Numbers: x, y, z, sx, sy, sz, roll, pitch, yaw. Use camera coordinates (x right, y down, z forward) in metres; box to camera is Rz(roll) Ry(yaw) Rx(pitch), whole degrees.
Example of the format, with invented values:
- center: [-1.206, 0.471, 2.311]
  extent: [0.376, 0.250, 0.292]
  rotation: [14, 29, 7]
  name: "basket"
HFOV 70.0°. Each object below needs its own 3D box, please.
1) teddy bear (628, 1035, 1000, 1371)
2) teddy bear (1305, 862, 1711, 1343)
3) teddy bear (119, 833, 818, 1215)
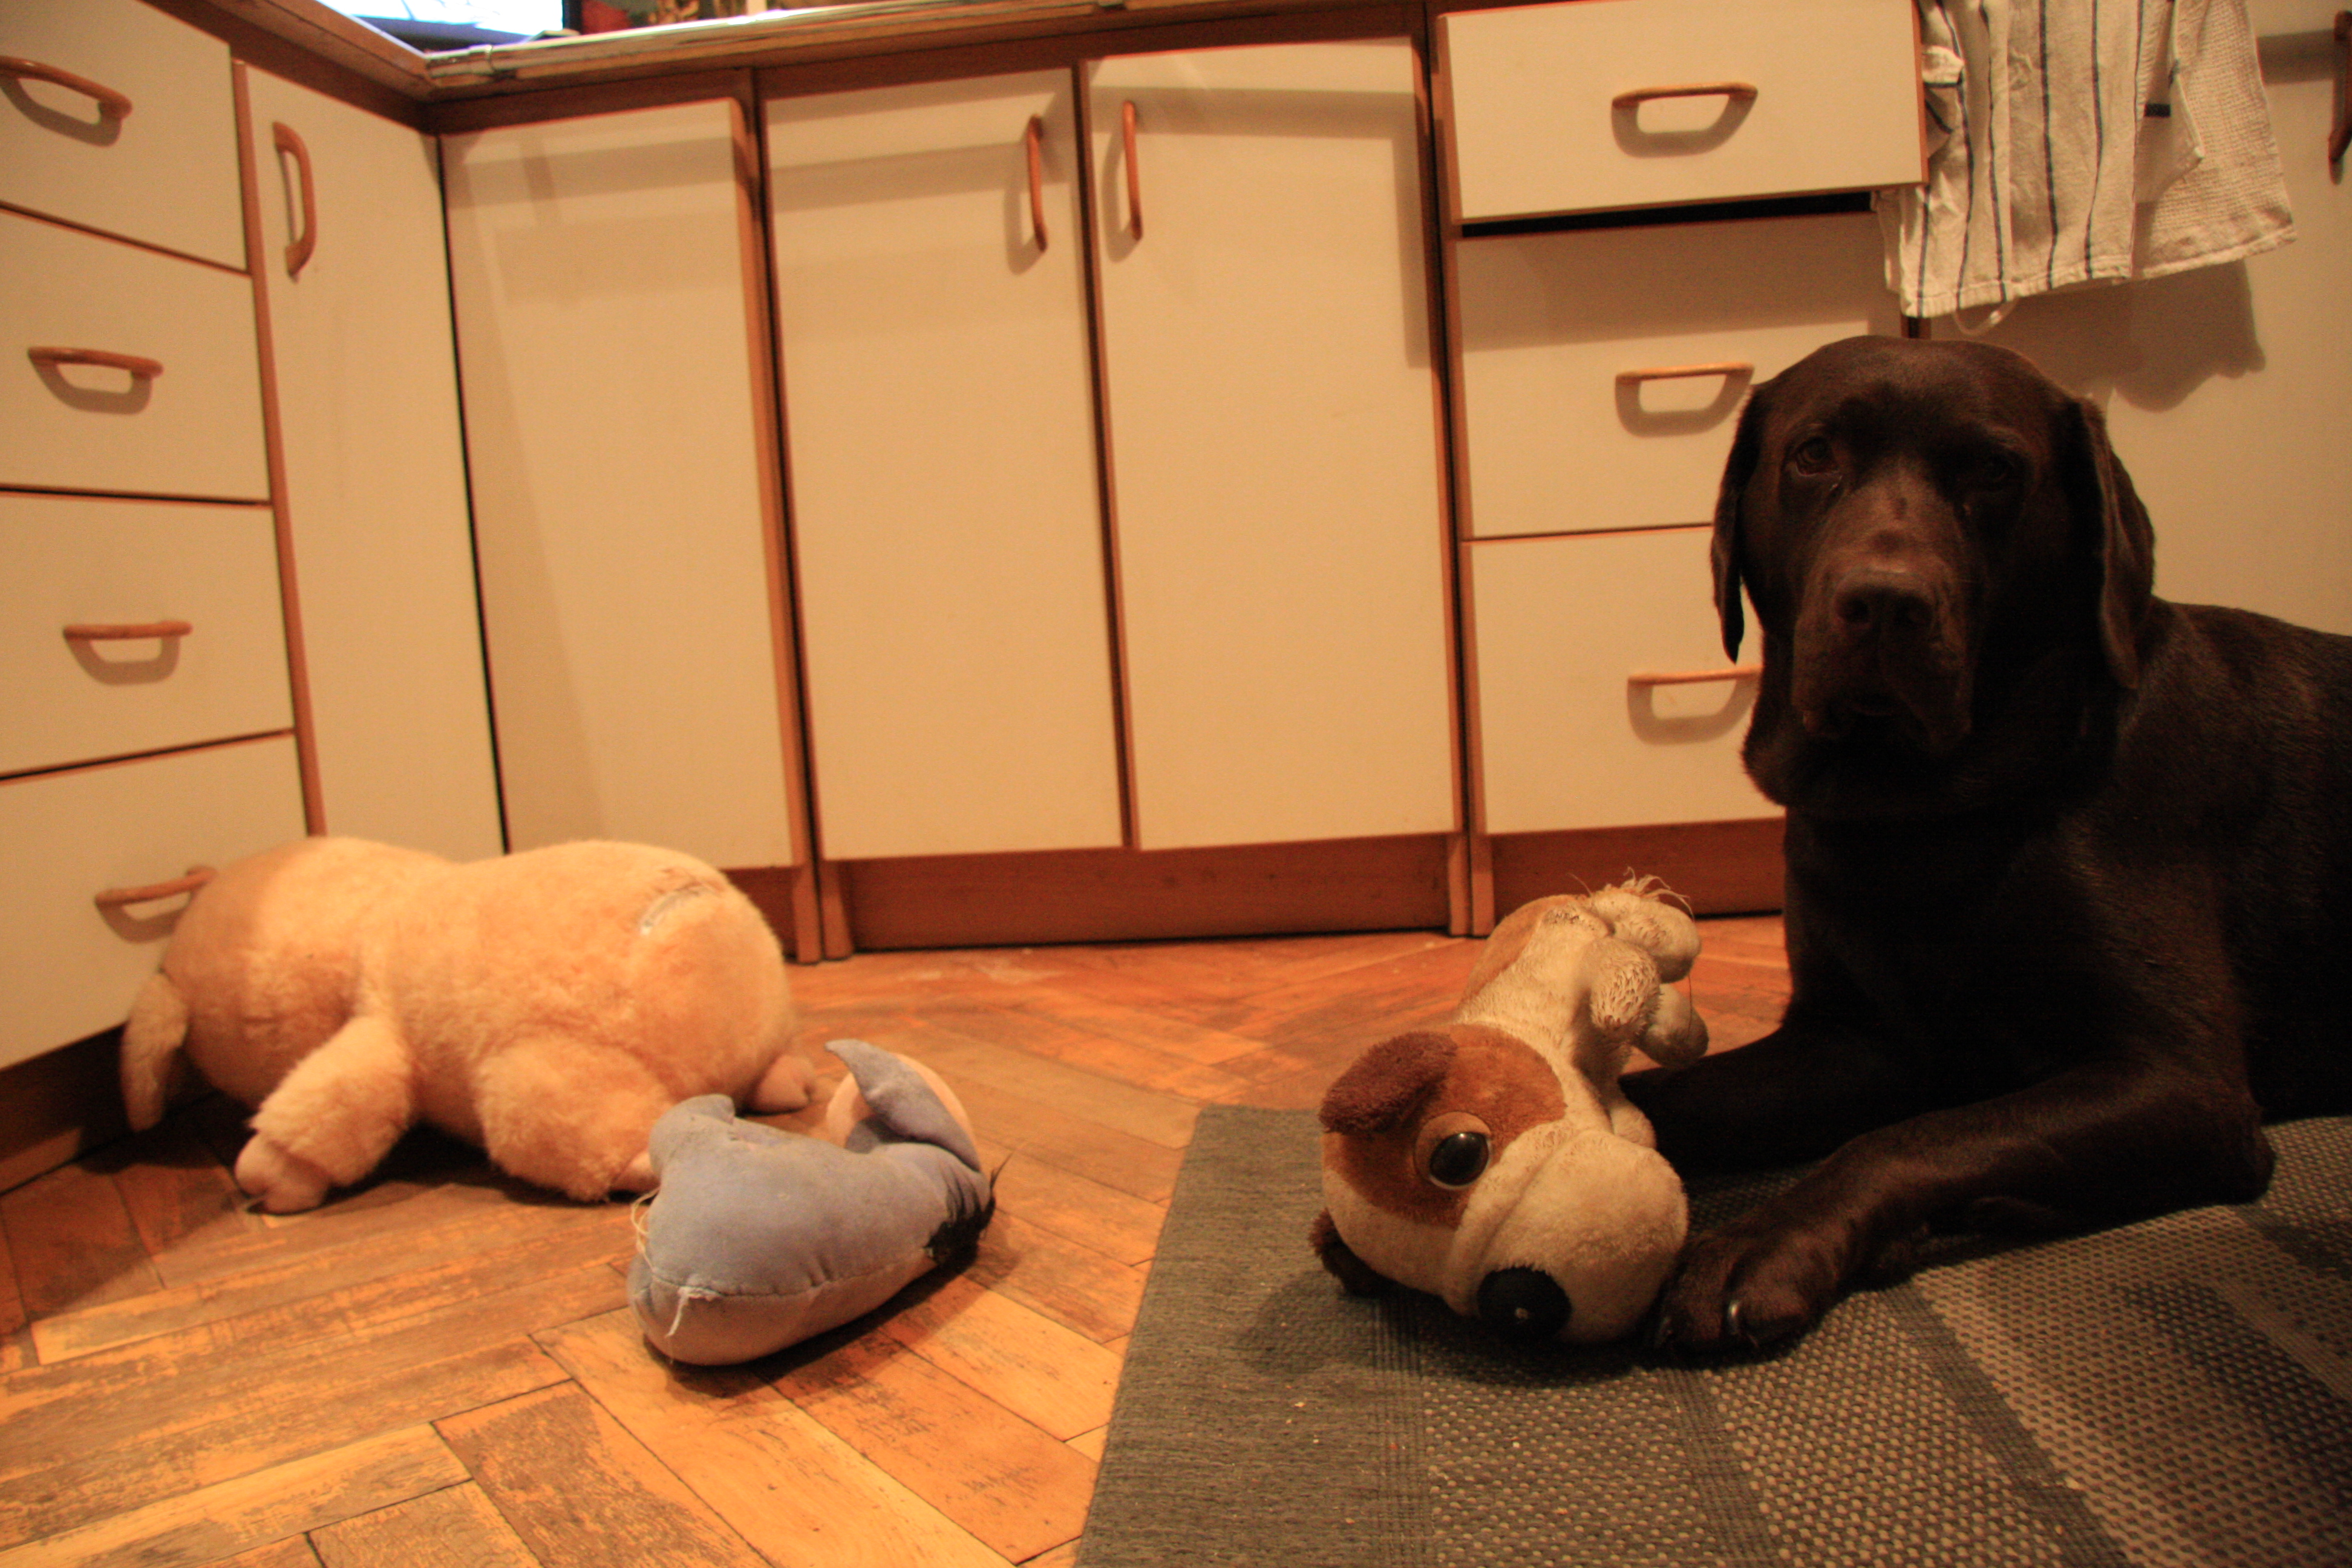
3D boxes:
- center: [-0.375, 0.408, 1.721]
  extent: [0.258, 0.146, 0.348]
  rotation: [2, 12, 9]
  name: "teddy bear"
- center: [0.358, 0.320, 1.682]
  extent: [0.314, 0.446, 0.433]
  rotation: [7, -15, 4]
  name: "teddy bear"
- center: [-0.882, 0.267, 2.048]
  extent: [0.594, 0.310, 0.492]
  rotation: [4, -3, 11]
  name: "teddy bear"
